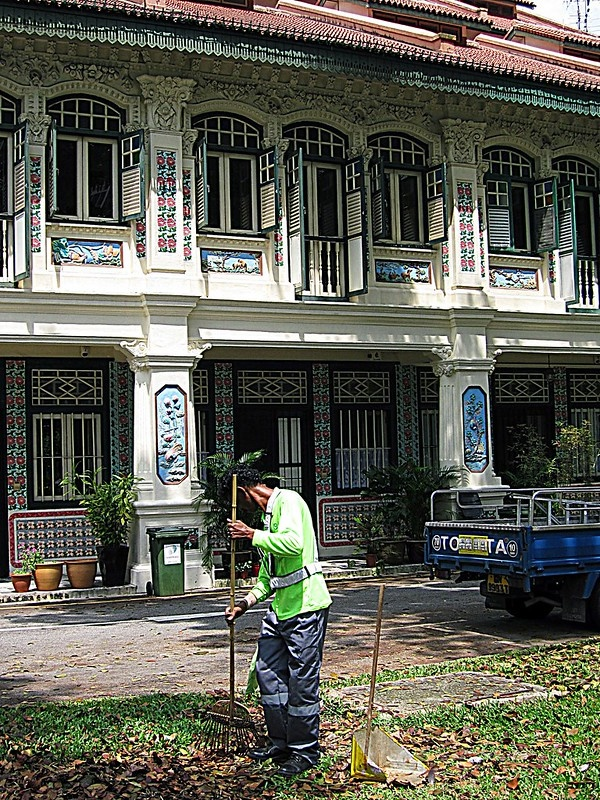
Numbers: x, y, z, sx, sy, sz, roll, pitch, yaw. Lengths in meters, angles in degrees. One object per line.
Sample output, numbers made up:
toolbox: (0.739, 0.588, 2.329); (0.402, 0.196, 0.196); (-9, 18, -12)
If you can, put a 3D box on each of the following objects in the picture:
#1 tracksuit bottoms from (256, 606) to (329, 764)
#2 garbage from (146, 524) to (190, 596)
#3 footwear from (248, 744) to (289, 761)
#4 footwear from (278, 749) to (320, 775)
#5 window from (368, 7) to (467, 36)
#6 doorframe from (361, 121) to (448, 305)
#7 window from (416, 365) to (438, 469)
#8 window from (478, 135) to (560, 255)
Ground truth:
tracksuit bottoms: (-0.060, 1.657, 5.804); (0.392, 0.852, 0.336); (-2, -1, 13)
garbage: (-1.908, 2.339, 14.322); (0.513, 0.969, 0.383); (-1, -1, -21)
footwear: (-0.185, 2.091, 5.873); (0.255, 0.103, 0.096); (7, -11, 8)
footwear: (0.004, 2.061, 5.678); (0.247, 0.102, 0.088); (6, 17, -32)
window: (2.850, -9.223, 23.972); (2.387, 0.491, 0.664); (-1, -1, -25)
doorframe: (1.829, -3.483, 17.634); (1.634, 1.892, 0.907); (-1, -1, -33)
window: (2.579, 0.418, 19.561); (0.066, 1.937, 0.481); (-3, 4, -30)
window: (4.141, -3.836, 18.862); (1.257, 1.540, 0.756); (-1, -1, -21)
